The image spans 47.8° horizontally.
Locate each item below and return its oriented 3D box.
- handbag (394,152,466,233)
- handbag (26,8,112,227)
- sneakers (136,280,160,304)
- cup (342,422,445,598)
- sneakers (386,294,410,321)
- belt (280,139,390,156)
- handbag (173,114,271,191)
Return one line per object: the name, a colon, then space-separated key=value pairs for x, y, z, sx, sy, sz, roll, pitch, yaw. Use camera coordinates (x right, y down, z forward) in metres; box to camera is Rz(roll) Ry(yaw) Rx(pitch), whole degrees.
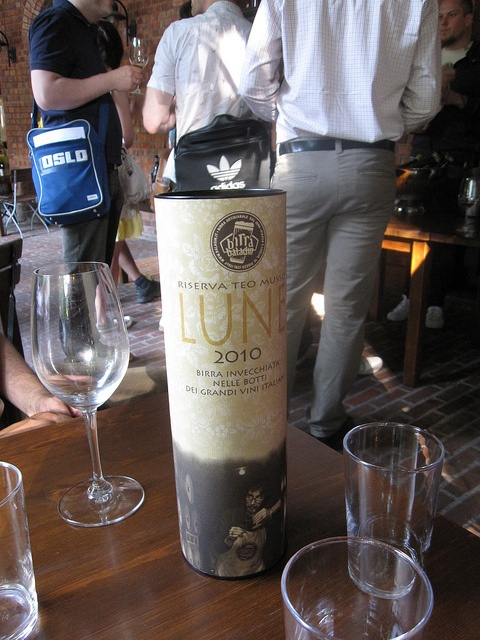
handbag: x=1.039 y=-0.743 z=3.001 sx=0.231 sy=0.470 sz=0.731 roll=6 pitch=16 yaw=43
handbag: x=-0.713 y=-0.746 z=2.212 sx=0.341 sy=0.670 sz=0.264 roll=-7 pitch=4 yaw=7
sneakers: x=-0.675 y=-0.212 z=3.964 sx=0.084 sy=0.144 sz=0.216 roll=12 pitch=30 yaw=32
cup: x=0.121 y=0.151 z=0.436 sx=0.102 sy=0.110 sz=0.101 roll=4 pitch=-3 yaw=0
sneakers: x=1.086 y=-0.094 z=3.624 sx=0.115 sy=0.140 sz=0.333 roll=10 pitch=19 yaw=32
belt: x=0.284 y=-0.523 z=1.618 sx=0.346 sy=0.053 sz=0.110 roll=1 pitch=22 yaw=11
handbag: x=-0.073 y=-0.713 z=2.344 sx=0.385 sy=0.184 sz=0.501 roll=-11 pitch=-8 yaw=-3
